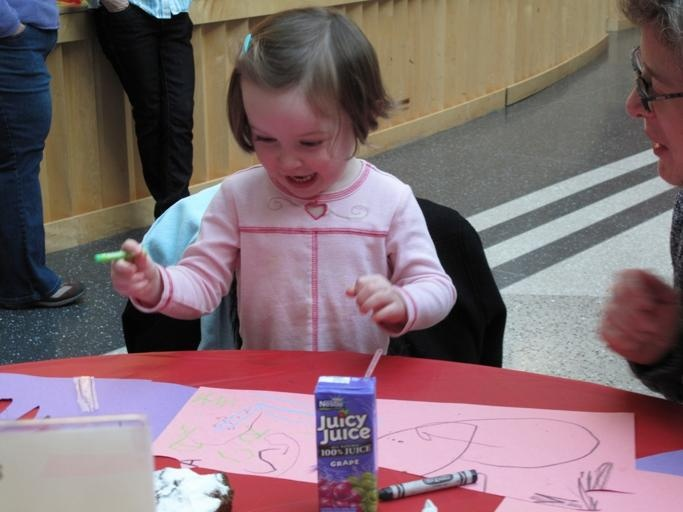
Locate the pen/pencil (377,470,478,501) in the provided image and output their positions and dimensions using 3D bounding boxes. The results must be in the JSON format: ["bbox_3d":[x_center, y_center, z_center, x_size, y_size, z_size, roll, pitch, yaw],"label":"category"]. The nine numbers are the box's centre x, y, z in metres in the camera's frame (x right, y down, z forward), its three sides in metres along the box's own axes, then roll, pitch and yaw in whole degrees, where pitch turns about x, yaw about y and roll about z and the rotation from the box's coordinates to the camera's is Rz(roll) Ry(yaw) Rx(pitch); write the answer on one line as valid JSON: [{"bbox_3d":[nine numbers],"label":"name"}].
[{"bbox_3d":[0.111,0.298,0.820,0.111,0.017,0.017,-10,43,-10],"label":"pen/pencil"}]
